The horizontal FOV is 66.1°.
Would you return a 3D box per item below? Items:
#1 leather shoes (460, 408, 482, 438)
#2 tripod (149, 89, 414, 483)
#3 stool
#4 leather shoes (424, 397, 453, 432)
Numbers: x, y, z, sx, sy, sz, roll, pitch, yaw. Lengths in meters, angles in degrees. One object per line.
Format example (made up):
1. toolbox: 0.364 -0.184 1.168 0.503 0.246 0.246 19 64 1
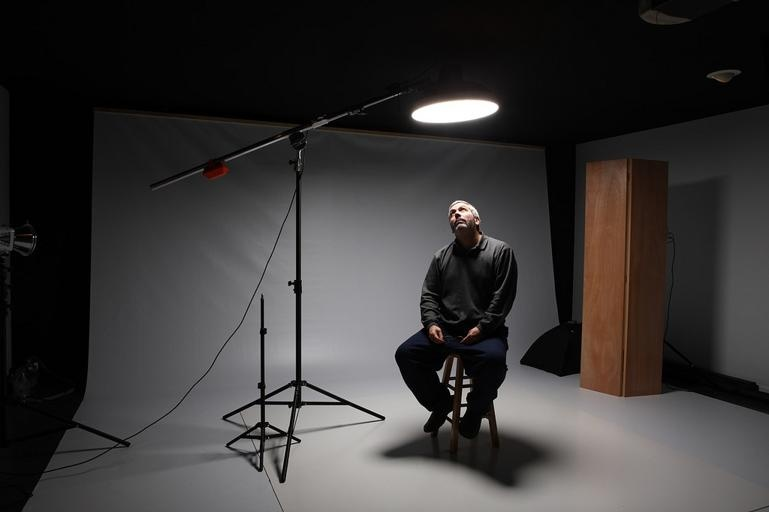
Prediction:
1. leather shoes: 0.693 1.363 4.783 0.175 0.239 0.152 2 0 0
2. tripod: -0.663 0.231 5.134 1.636 2.711 1.872 2 0 1
3. stool: 0.760 1.192 5.138 0.484 0.782 1.051 2 0 11
4. leather shoes: 0.427 1.403 5.130 0.184 0.168 0.474 -23 -19 10
